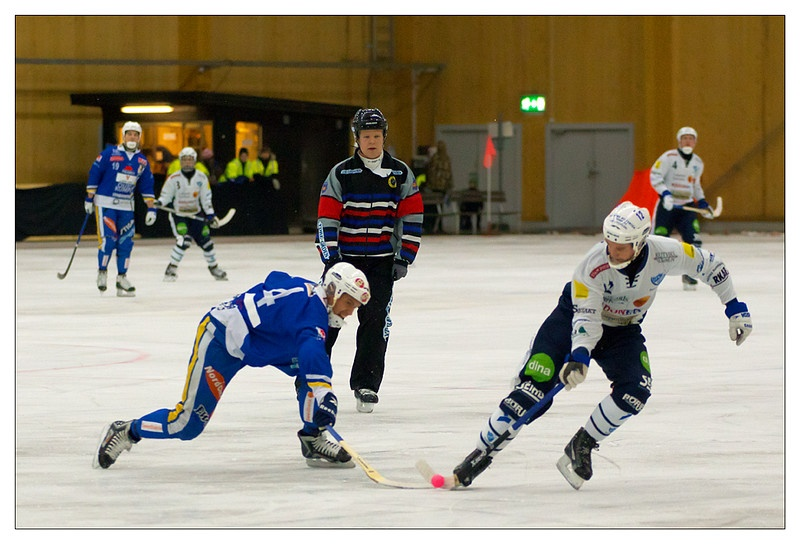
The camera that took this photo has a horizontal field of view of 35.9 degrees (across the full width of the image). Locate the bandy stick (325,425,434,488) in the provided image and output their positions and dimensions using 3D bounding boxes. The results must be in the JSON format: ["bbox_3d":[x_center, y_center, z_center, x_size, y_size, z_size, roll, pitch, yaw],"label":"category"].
[{"bbox_3d":[-0.180,1.638,10.806,0.998,0.155,0.103,33,20,36],"label":"bandy stick"}]

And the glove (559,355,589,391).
[{"bbox_3d":[1.432,0.857,10.234,0.232,0.254,0.133,10,17,33],"label":"glove"}]

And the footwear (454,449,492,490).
[{"bbox_3d":[0.612,1.674,10.484,0.259,0.338,0.134,53,-9,14],"label":"footwear"}]

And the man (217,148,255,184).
[{"bbox_3d":[-3.582,-2.312,27.811,0.767,0.903,0.544,-10,45,-32],"label":"man"}]

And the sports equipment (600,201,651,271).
[{"bbox_3d":[1.910,-0.292,10.324,0.469,0.527,0.302,-12,18,-39],"label":"sports equipment"}]

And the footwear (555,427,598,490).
[{"bbox_3d":[1.548,1.526,10.448,0.162,0.601,0.423,-2,31,-25],"label":"footwear"}]

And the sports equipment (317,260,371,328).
[{"bbox_3d":[-0.464,0.157,10.642,0.438,0.500,0.376,35,17,19],"label":"sports equipment"}]

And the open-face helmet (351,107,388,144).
[{"bbox_3d":[-0.289,-1.486,12.112,0.351,0.468,0.454,0,-10,-7],"label":"open-face helmet"}]

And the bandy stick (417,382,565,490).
[{"bbox_3d":[0.831,1.492,10.924,0.136,0.954,0.251,44,-5,-38],"label":"bandy stick"}]

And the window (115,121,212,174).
[{"bbox_3d":[-5.626,-2.911,29.089,2.537,1.558,0.015,-2,23,-42],"label":"window"}]

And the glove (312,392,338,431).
[{"bbox_3d":[-0.622,1.175,10.355,0.203,0.296,0.139,8,-9,5],"label":"glove"}]

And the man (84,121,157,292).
[{"bbox_3d":[-4.047,-0.883,17.898,0.956,2.538,1.452,-3,15,-11],"label":"man"}]

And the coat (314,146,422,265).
[{"bbox_3d":[-0.281,-0.602,12.271,1.022,1.147,0.694,2,-1,-4],"label":"coat"}]

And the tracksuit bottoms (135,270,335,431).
[{"bbox_3d":[-1.278,0.592,10.800,1.251,1.206,1.594,1,-3,-1],"label":"tracksuit bottoms"}]
